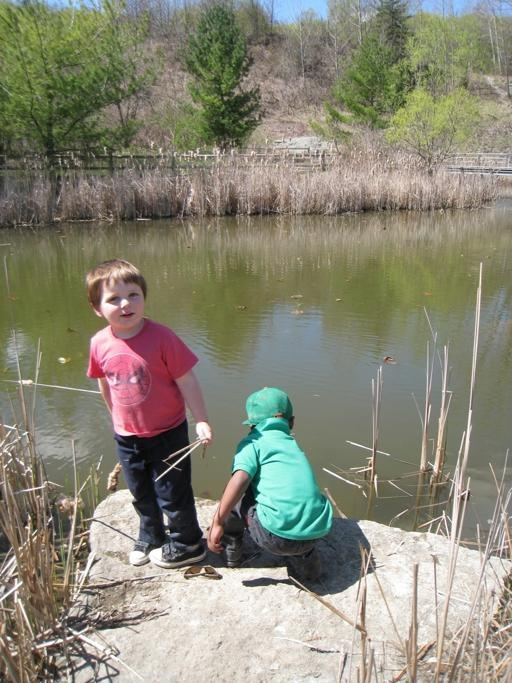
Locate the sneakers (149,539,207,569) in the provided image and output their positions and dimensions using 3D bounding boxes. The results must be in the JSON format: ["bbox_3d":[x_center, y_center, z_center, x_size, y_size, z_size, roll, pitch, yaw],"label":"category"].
[{"bbox_3d":[-0.276,0.720,2.160,0.183,0.076,0.079,1,14,-9],"label":"sneakers"}]

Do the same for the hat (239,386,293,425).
[{"bbox_3d":[0.040,0.234,2.306,0.114,0.102,0.166,-1,2,-8],"label":"hat"}]

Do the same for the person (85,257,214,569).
[{"bbox_3d":[-0.365,0.255,2.162,0.368,1.046,0.473,-9,15,-16],"label":"person"}]
